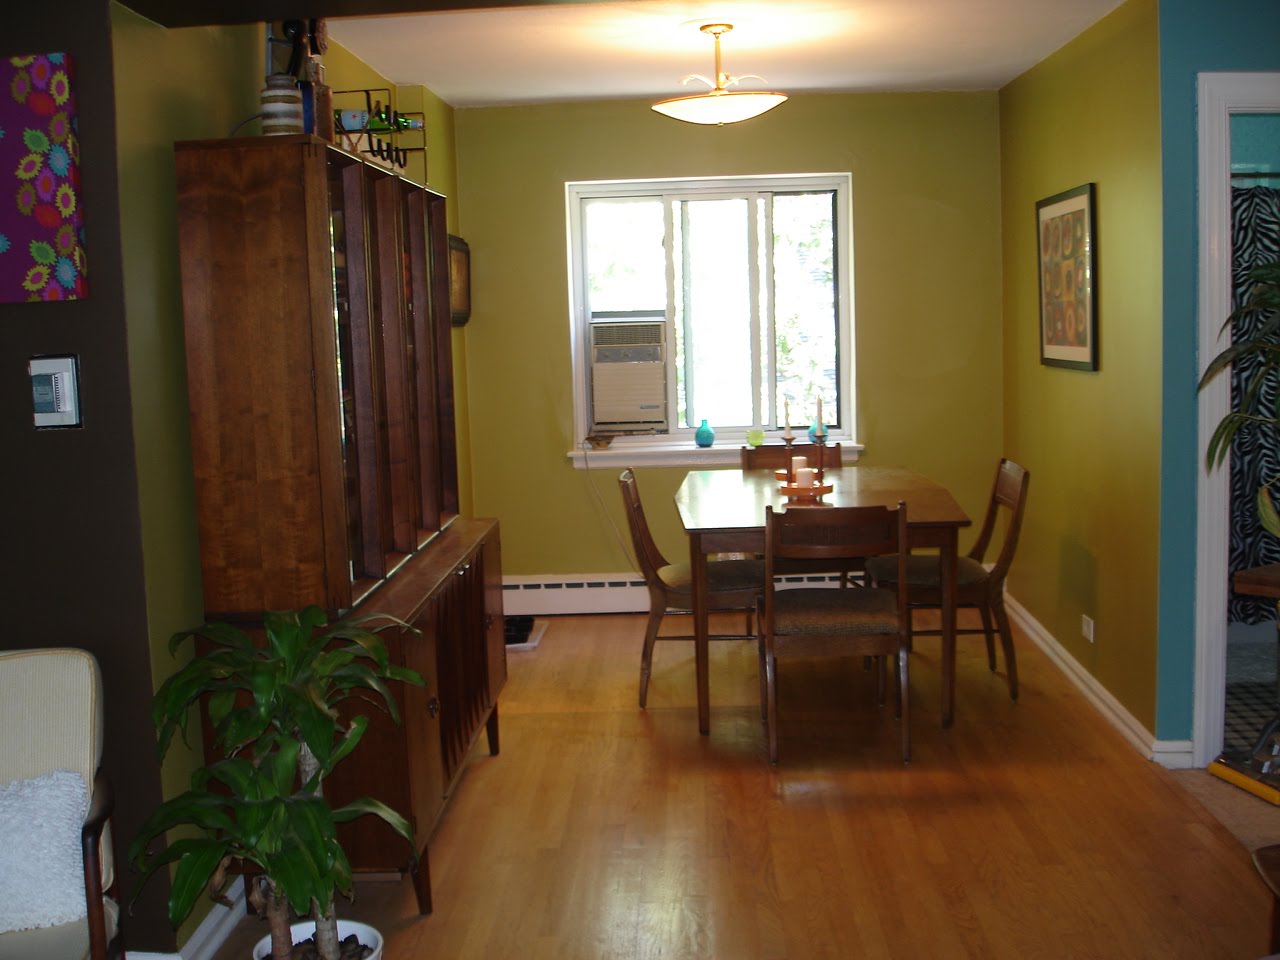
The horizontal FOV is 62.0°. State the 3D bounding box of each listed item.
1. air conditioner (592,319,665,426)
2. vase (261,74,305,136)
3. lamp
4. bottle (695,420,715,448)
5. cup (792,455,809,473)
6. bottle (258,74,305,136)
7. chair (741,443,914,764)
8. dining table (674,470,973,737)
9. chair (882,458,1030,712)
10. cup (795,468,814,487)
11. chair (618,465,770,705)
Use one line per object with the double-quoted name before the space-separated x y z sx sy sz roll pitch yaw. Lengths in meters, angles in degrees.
"air conditioner" -0.070 -0.670 6.262 0.433 0.681 0.347 -1 26 0
"vase" -1.078 -1.108 3.180 0.138 0.182 0.165 0 6 -8
"lamp" 0.317 -1.657 4.353 0.484 0.401 0.486 21 38 40
"bottle" 0.357 -0.269 6.100 0.122 0.176 0.132 0 0 0
"cup" 0.750 -0.078 4.965 0.078 0.098 0.085 0 5 0
"bottle" -1.076 -1.107 3.179 0.141 0.186 0.165 0 5 -7
"chair" 0.852 0.477 4.693 0.623 1.056 1.381 0 12 10
"dining table" 0.773 0.773 4.741 0.946 0.776 1.518 0 10 4
"chair" 1.441 0.410 4.880 0.630 0.991 0.682 -3 10 -14
"cup" 0.734 -0.015 4.751 0.076 0.084 0.076 -1 9 0
"chair" 0.273 0.505 4.972 0.707 1.002 0.657 -1 -3 -11
